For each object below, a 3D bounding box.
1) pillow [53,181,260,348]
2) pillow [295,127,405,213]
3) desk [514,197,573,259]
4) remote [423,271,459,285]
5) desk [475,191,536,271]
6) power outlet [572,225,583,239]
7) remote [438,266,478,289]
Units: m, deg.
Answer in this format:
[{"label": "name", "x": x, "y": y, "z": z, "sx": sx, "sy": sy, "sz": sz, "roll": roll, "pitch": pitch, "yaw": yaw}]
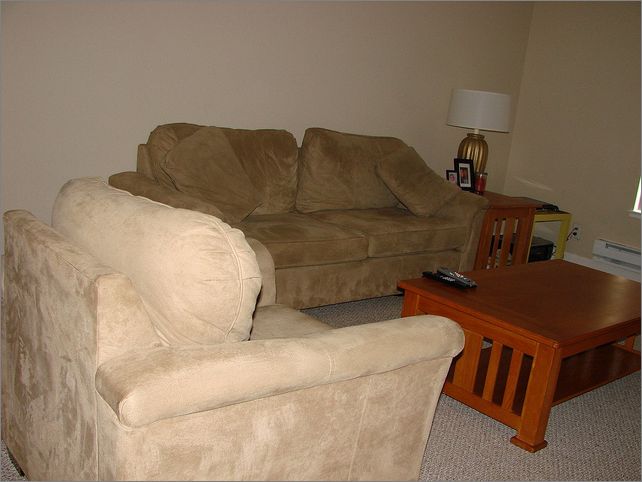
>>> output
[{"label": "pillow", "x": -0.504, "y": 0.076, "z": 1.609, "sx": 0.670, "sy": 0.388, "sz": 0.230, "roll": 15, "pitch": 19, "yaw": 31}, {"label": "pillow", "x": 0.169, "y": -0.505, "z": 3.989, "sx": 0.683, "sy": 0.668, "sz": 0.205, "roll": 3, "pitch": -2, "yaw": -27}, {"label": "desk", "x": 2.149, "y": -0.028, "z": 5.084, "sx": 0.510, "sy": 0.401, "sz": 0.533, "roll": 4, "pitch": 2, "yaw": -9}, {"label": "remote", "x": 0.629, "y": 0.181, "z": 2.786, "sx": 0.120, "sy": 0.026, "sz": 0.067, "roll": 17, "pitch": 12, "yaw": 37}, {"label": "desk", "x": 1.474, "y": -0.060, "z": 4.263, "sx": 0.398, "sy": 0.623, "sz": 0.432, "roll": 24, "pitch": 29, "yaw": 39}, {"label": "power outlet", "x": 2.527, "y": -0.081, "z": 5.225, "sx": 0.026, "sy": 0.107, "sz": 0.113, "roll": 9, "pitch": -8, "yaw": -29}, {"label": "remote", "x": 0.714, "y": 0.194, "z": 2.785, "sx": 0.167, "sy": 0.043, "sz": 0.094, "roll": 26, "pitch": 10, "yaw": 29}]
